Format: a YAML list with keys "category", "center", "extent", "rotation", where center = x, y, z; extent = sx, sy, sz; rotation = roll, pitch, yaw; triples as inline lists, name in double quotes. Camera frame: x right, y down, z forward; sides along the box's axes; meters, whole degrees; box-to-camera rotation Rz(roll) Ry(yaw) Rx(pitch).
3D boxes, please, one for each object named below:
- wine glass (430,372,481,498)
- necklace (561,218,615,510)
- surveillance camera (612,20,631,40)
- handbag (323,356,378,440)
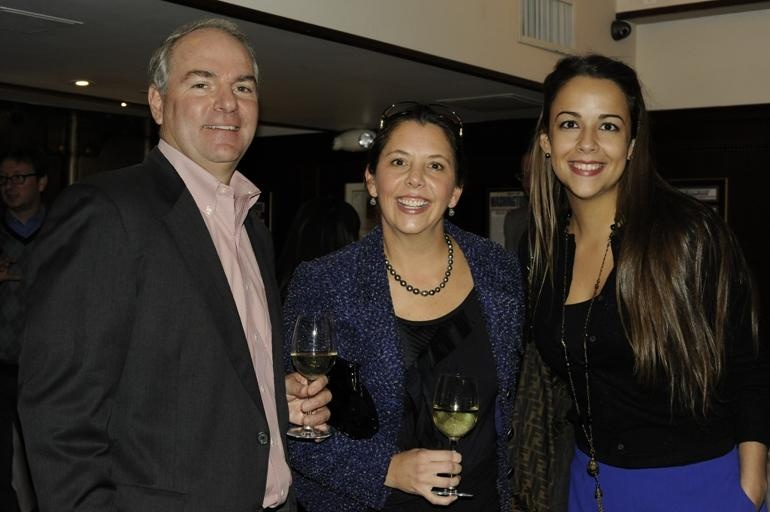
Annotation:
- category: "wine glass"
  center: [0.287, 0.758, 2.833]
  extent: [0.196, 0.560, 0.332]
  rotation: [2, 14, 7]
- category: "necklace"
  center: [0.916, 0.456, 3.122]
  extent: [0.204, 1.302, 0.107]
  rotation: [-3, -9, 18]
- category: "surveillance camera"
  center: [2.523, -2.381, 7.239]
  extent: [0.220, 0.200, 0.060]
  rotation: [-9, 16, -21]
- category: "handbag"
  center: [-0.183, 0.650, 3.048]
  extent: [0.237, 0.125, 0.414]
  rotation: [-5, 33, -12]
